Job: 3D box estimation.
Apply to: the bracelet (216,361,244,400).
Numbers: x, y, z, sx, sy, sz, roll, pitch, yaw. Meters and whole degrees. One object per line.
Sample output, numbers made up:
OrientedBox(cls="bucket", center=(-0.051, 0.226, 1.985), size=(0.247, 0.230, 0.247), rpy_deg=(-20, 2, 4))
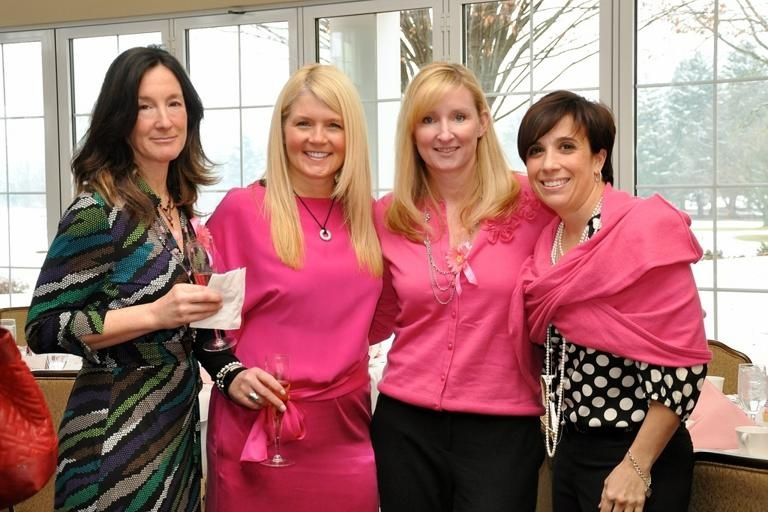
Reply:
OrientedBox(cls="bracelet", center=(-0.581, 0.460, 2.418), size=(0.111, 0.051, 0.100), rpy_deg=(-45, -13, 9))

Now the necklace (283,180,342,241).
OrientedBox(cls="necklace", center=(-0.252, -0.151, 2.609), size=(0.180, 0.216, 0.033), rpy_deg=(1, 39, 14))

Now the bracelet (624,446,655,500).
OrientedBox(cls="bracelet", center=(0.870, 0.741, 2.216), size=(0.045, 0.140, 0.109), rpy_deg=(-32, -22, 24))

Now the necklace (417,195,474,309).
OrientedBox(cls="necklace", center=(0.255, 0.053, 2.594), size=(0.240, 0.272, 0.128), rpy_deg=(1, 7, 23))

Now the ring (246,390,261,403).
OrientedBox(cls="ring", center=(-0.475, 0.519, 2.381), size=(0.043, 0.043, 0.015), rpy_deg=(-3, 6, -10))

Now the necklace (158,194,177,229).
OrientedBox(cls="necklace", center=(-0.819, -0.169, 2.465), size=(0.048, 0.012, 0.135), rpy_deg=(3, 40, -28))

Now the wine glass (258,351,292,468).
OrientedBox(cls="wine glass", center=(-0.402, 0.588, 2.428), size=(0.117, 0.451, 0.112), rpy_deg=(2, 8, 35))
